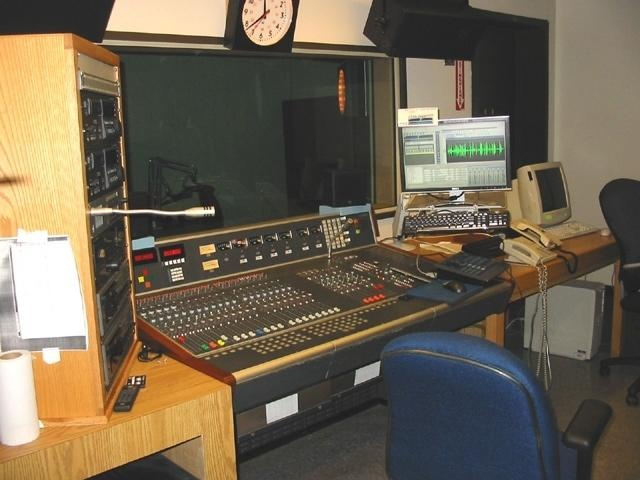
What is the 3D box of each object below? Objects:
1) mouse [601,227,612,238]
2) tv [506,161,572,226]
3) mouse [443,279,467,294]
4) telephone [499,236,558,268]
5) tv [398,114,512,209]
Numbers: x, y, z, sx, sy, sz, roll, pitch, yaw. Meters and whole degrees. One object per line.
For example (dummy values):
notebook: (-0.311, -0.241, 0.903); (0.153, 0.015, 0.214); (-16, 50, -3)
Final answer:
mouse: (1.815, -0.051, 3.311); (0.049, 0.015, 0.049); (-22, 30, -20)
tv: (1.490, -0.309, 3.626); (0.433, 0.434, 0.313); (-10, 2, -35)
mouse: (0.590, 0.210, 2.284); (0.096, 0.040, 0.073); (-1, 8, 30)
telephone: (1.101, 0.073, 2.840); (0.161, 0.084, 0.215); (-20, 29, -27)
tv: (0.851, -0.504, 3.306); (0.680, 0.513, 0.168); (-2, 6, 1)
